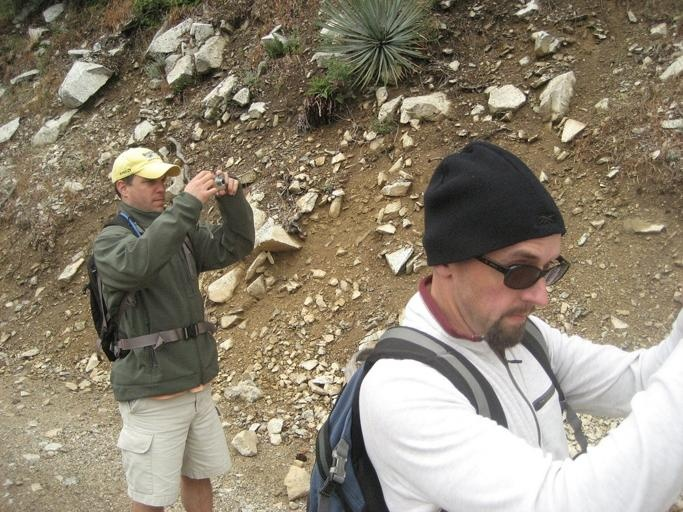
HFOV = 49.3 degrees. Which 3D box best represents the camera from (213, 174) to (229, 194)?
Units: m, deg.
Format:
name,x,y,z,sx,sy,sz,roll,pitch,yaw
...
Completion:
name,x,y,z,sx,sy,sz,roll,pitch,yaw
camera,-1.255,-0.761,7.787,0.174,0.122,0.187,0,85,64
